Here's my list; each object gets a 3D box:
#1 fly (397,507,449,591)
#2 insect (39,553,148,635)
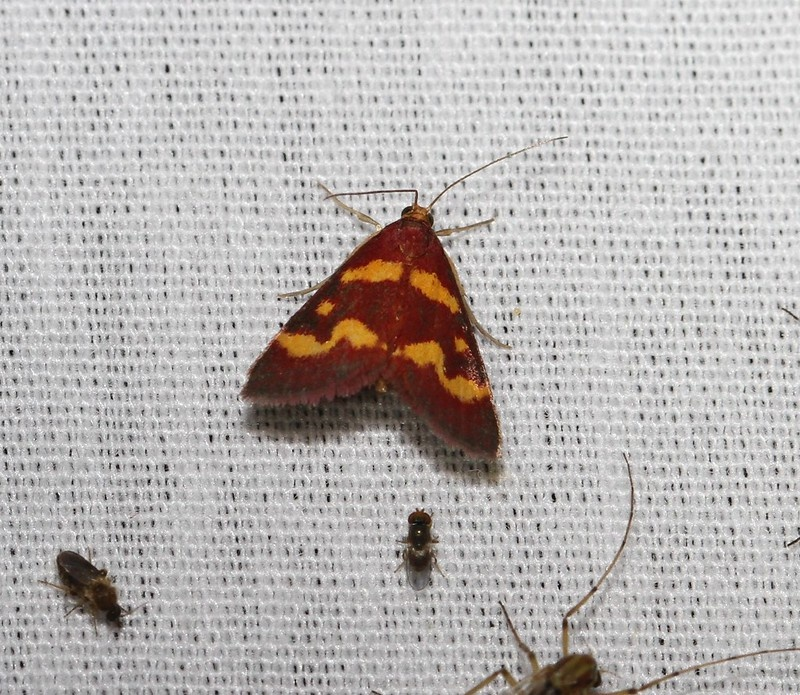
[{"bbox_3d":[0.063,0.666,4.593,0.128,0.072,0.249,1,55,1],"label":"fly"},{"bbox_3d":[-1.037,0.814,4.612,0.327,0.248,0.119,26,72,-1],"label":"insect"}]
